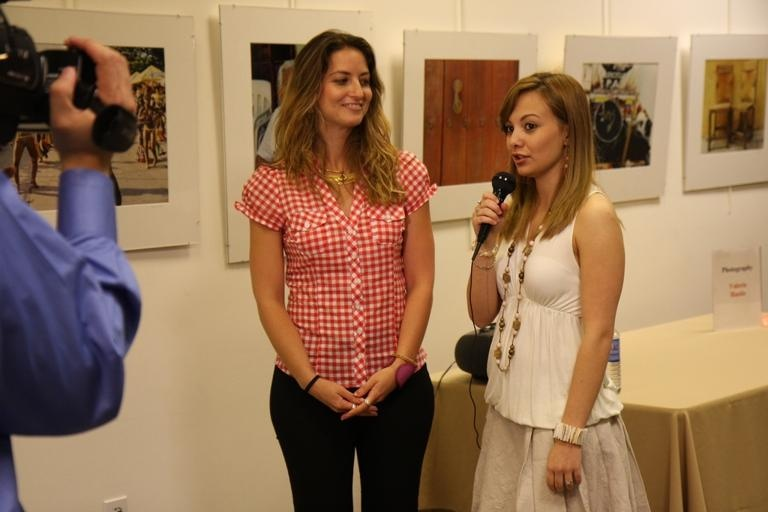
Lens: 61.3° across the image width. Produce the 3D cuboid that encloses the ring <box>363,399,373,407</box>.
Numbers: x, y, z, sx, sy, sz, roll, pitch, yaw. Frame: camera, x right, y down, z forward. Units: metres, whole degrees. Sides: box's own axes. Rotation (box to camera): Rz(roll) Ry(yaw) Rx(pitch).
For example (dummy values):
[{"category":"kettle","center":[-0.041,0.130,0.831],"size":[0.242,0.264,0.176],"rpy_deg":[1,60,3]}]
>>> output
[{"category":"ring","center":[-0.058,0.517,2.302],"size":[0.029,0.027,0.024],"rpy_deg":[-3,9,1]}]

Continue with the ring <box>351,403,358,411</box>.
[{"category":"ring","center":[-0.103,0.531,2.293],"size":[0.018,0.020,0.006],"rpy_deg":[1,-9,34]}]

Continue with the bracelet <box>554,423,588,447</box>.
[{"category":"bracelet","center":[0.621,0.590,2.170],"size":[0.093,0.065,0.098],"rpy_deg":[15,-3,-17]}]

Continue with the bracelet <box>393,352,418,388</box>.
[{"category":"bracelet","center":[0.080,0.410,2.360],"size":[0.074,0.110,0.082],"rpy_deg":[5,20,-10]}]

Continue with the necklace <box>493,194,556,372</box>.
[{"category":"necklace","center":[0.480,0.104,2.375],"size":[0.124,0.610,0.071],"rpy_deg":[8,0,8]}]
